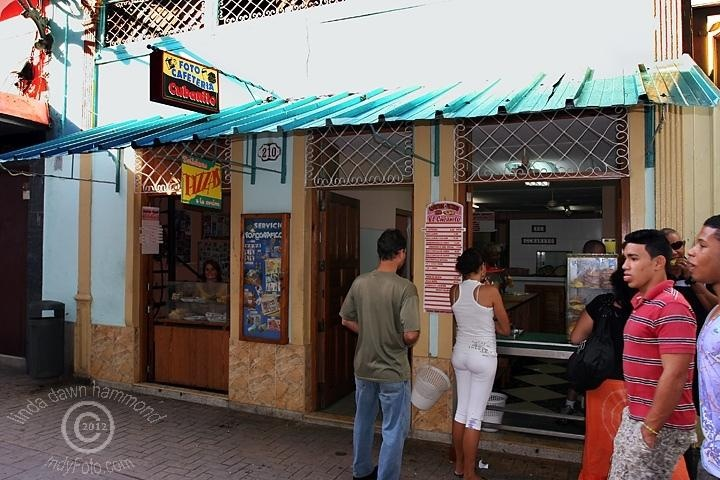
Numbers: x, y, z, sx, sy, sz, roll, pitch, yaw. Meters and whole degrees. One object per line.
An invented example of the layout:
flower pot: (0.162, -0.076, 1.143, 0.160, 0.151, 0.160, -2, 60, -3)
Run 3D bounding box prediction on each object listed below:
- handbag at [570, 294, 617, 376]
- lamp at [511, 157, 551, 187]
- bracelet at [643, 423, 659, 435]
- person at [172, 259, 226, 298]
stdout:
handbag: (2.609, 1.056, 6.139, 0.298, 0.812, 0.629, 3, -5, 1)
lamp: (2.318, -0.948, 7.577, 0.579, 0.314, 0.206, 2, 11, 13)
bracelet: (2.515, 1.639, 4.873, 0.102, 0.028, 0.079, 34, -19, 9)
person: (-2.632, 0.714, 9.778, 0.698, 0.440, 0.724, 1, -1, 2)
